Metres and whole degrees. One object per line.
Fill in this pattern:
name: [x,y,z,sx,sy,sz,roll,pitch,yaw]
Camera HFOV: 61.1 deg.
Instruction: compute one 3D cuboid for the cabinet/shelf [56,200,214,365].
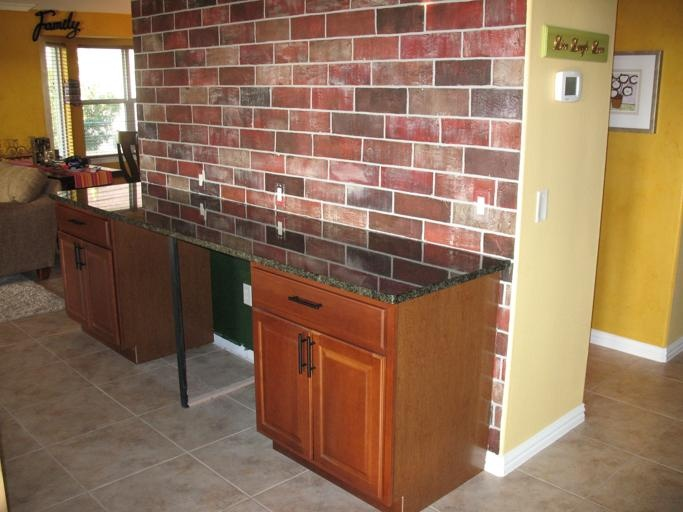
cabinet/shelf: [-1.440,-0.093,4.076,0.915,1.312,1.301,-9,15,-43]
